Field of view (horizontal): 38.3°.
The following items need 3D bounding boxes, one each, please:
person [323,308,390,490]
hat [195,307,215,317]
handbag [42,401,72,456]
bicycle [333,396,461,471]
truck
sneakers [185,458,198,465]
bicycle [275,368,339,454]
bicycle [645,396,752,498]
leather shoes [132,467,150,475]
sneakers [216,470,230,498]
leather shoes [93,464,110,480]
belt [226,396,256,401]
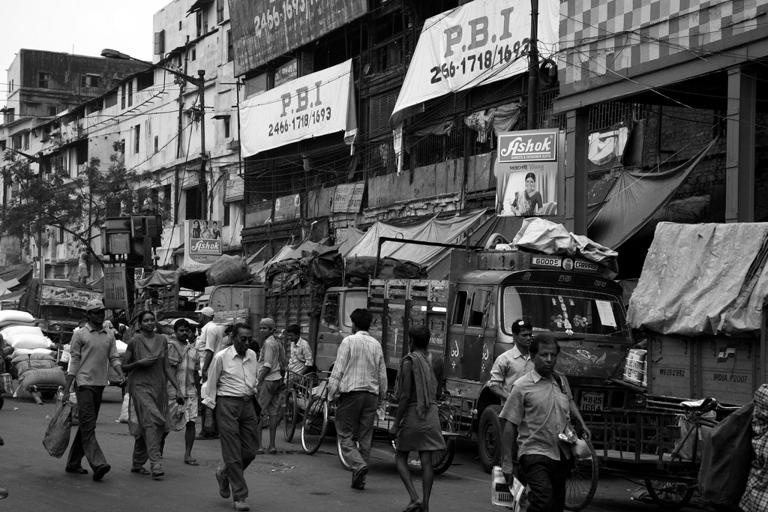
[{"bbox_3d":[-0.483,2.524,19.526,1.021,3.183,0.395,1,-2,-4],"label":"person"},{"bbox_3d":[-4.150,1.277,25.592,0.325,0.188,0.499,11,-1,-32],"label":"hat"},{"bbox_3d":[-6.022,3.195,20.310,0.487,1.129,0.986,1,-2,-17],"label":"handbag"},{"bbox_3d":[0.493,3.346,20.990,1.302,1.270,2.278,2,1,-27],"label":"bicycle"},{"bbox_3d":[2.115,1.673,23.112,3.024,3.597,6.236,4,-6,-34],"label":"truck"},{"bbox_3d":[-3.702,3.932,21.133,0.230,0.100,0.114,-4,-5,29],"label":"sneakers"},{"bbox_3d":[-1.620,3.281,22.894,1.173,1.186,1.827,6,1,-18],"label":"bicycle"},{"bbox_3d":[5.008,3.059,17.168,1.296,1.462,2.039,5,-8,-28],"label":"bicycle"},{"bbox_3d":[-4.474,3.937,20.300,0.390,0.163,0.146,1,-2,14],"label":"leather shoes"},{"bbox_3d":[-2.715,3.835,18.648,0.221,0.543,0.188,-2,9,41],"label":"sneakers"},{"bbox_3d":[-5.081,3.832,19.708,0.273,0.292,0.520,1,-2,-15],"label":"leather shoes"},{"bbox_3d":[-2.417,2.414,18.733,0.447,0.105,0.087,1,-2,-17],"label":"belt"}]
